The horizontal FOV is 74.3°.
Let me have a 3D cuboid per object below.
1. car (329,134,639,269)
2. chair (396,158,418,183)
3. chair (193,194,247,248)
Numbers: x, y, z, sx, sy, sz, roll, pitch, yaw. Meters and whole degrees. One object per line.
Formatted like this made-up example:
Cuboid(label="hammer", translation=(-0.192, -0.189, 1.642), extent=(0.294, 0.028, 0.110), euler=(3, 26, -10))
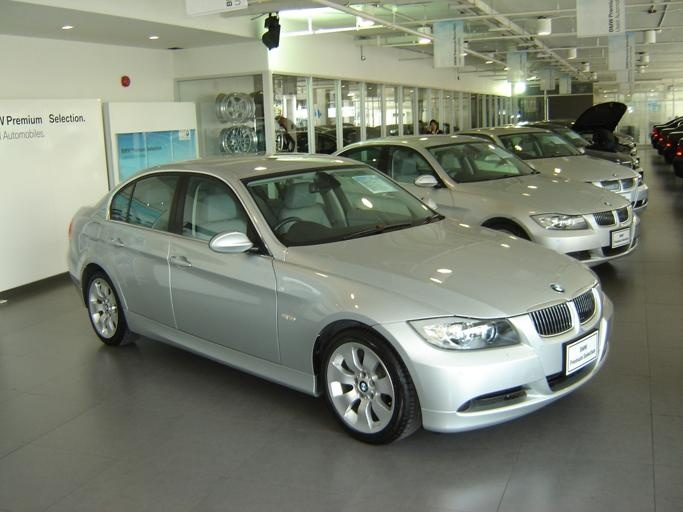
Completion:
Cuboid(label="car", translation=(1.609, -0.949, 6.508), extent=(4.402, 1.254, 2.009), euler=(11, 19, 32))
Cuboid(label="chair", translation=(0.909, -1.270, 6.662), extent=(0.378, 0.308, 0.612), euler=(1, 20, 2))
Cuboid(label="chair", translation=(-1.001, -0.312, 3.630), extent=(0.533, 0.437, 0.335), euler=(12, 19, 41))
